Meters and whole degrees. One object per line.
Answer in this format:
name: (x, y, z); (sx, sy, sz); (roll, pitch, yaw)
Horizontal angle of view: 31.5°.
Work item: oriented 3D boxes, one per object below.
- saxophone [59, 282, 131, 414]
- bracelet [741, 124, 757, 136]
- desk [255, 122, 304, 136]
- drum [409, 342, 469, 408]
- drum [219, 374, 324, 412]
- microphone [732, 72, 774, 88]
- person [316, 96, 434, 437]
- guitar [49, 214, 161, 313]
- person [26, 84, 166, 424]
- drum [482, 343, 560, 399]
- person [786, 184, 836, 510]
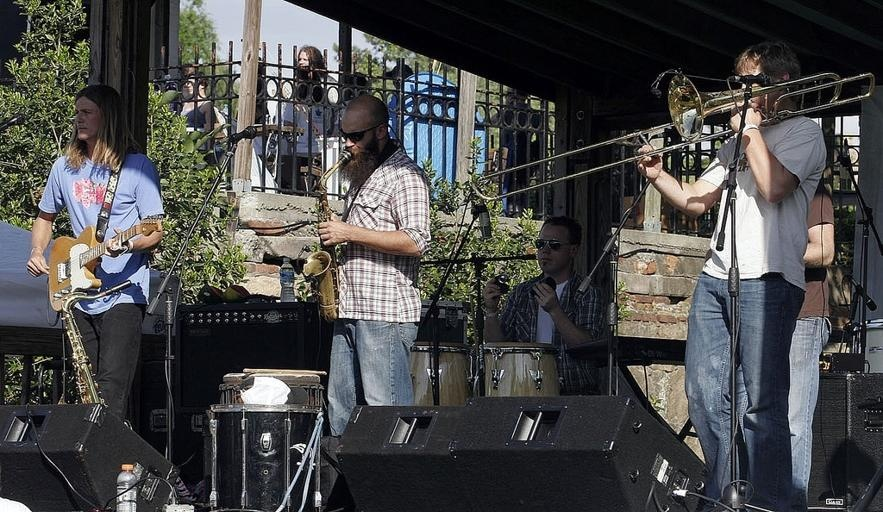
saxophone: (-2.689, 0.661, 12.081); (0.497, 0.924, 0.339); (2, 2, 38)
bracelet: (2.196, -0.892, 11.188); (0.085, 0.058, 0.084); (0, -7, 26)
desk: (-1.640, -1.307, 16.202); (0.498, 0.172, 1.209); (1, 1, -5)
drum: (-0.043, 0.993, 12.926); (0.523, 0.438, 0.499); (-1, -4, -3)
drum: (-1.264, 1.014, 11.854); (0.786, 0.256, 0.447); (1, 1, -7)
microphone: (2.221, -1.245, 11.177); (0.291, 0.107, 0.187); (1, 1, 20)
person: (-0.496, 0.073, 11.807); (0.819, 2.553, 0.453); (1, 1, -1)
guitar: (-2.492, 0.040, 12.109); (1.035, 0.492, 0.138); (-16, -13, 22)
person: (-2.608, -0.021, 12.520); (1.025, 2.696, 1.171); (1, 0, -2)
drum: (0.644, 0.945, 12.764); (0.502, 0.421, 0.481); (4, -6, -33)
person: (2.832, 0.599, 11.825); (0.590, 2.186, 0.525); (0, 0, -31)
